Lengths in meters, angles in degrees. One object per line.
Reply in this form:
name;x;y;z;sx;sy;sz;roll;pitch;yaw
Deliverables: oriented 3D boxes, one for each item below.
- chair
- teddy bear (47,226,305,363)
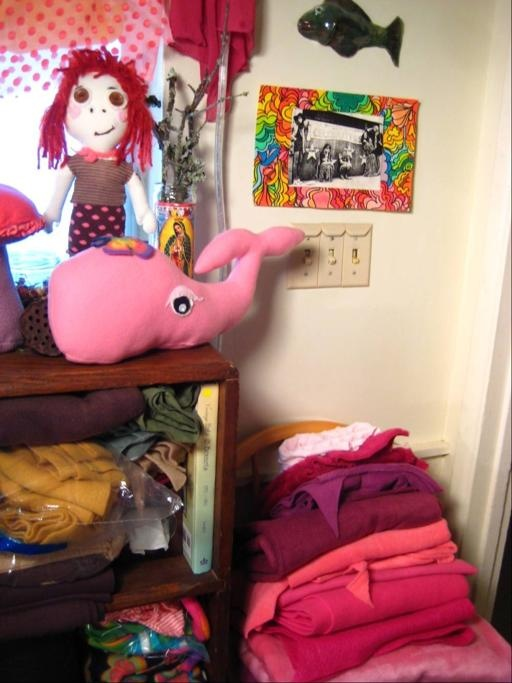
chair;0.211;0.368;0.949;0.457;0.317;0.363;3;24;0
teddy bear;-0.099;-0.070;0.766;0.353;0.162;0.140;-6;17;-31
